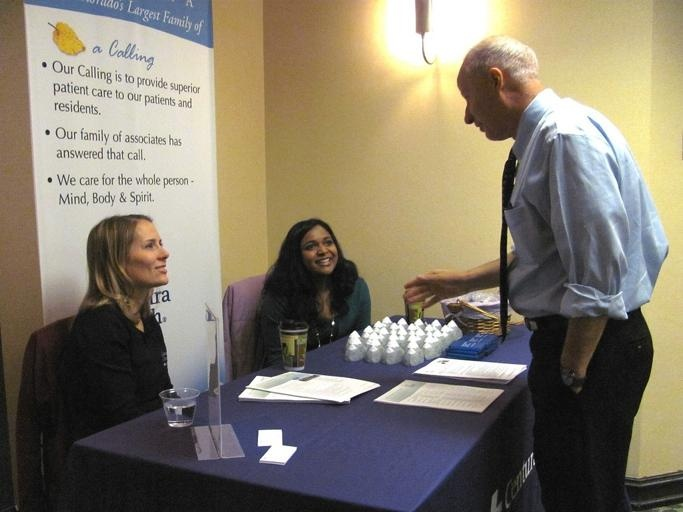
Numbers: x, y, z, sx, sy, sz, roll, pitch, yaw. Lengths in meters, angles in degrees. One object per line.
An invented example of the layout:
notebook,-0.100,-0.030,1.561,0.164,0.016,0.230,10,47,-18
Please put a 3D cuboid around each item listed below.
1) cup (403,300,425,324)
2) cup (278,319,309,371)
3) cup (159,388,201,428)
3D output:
cup,0.344,0.253,2.670,0.096,0.172,0.110,1,5,13
cup,-0.180,0.328,2.120,0.152,0.226,0.147,0,0,0
cup,-0.493,0.452,1.694,0.090,0.080,0.109,0,3,-2
